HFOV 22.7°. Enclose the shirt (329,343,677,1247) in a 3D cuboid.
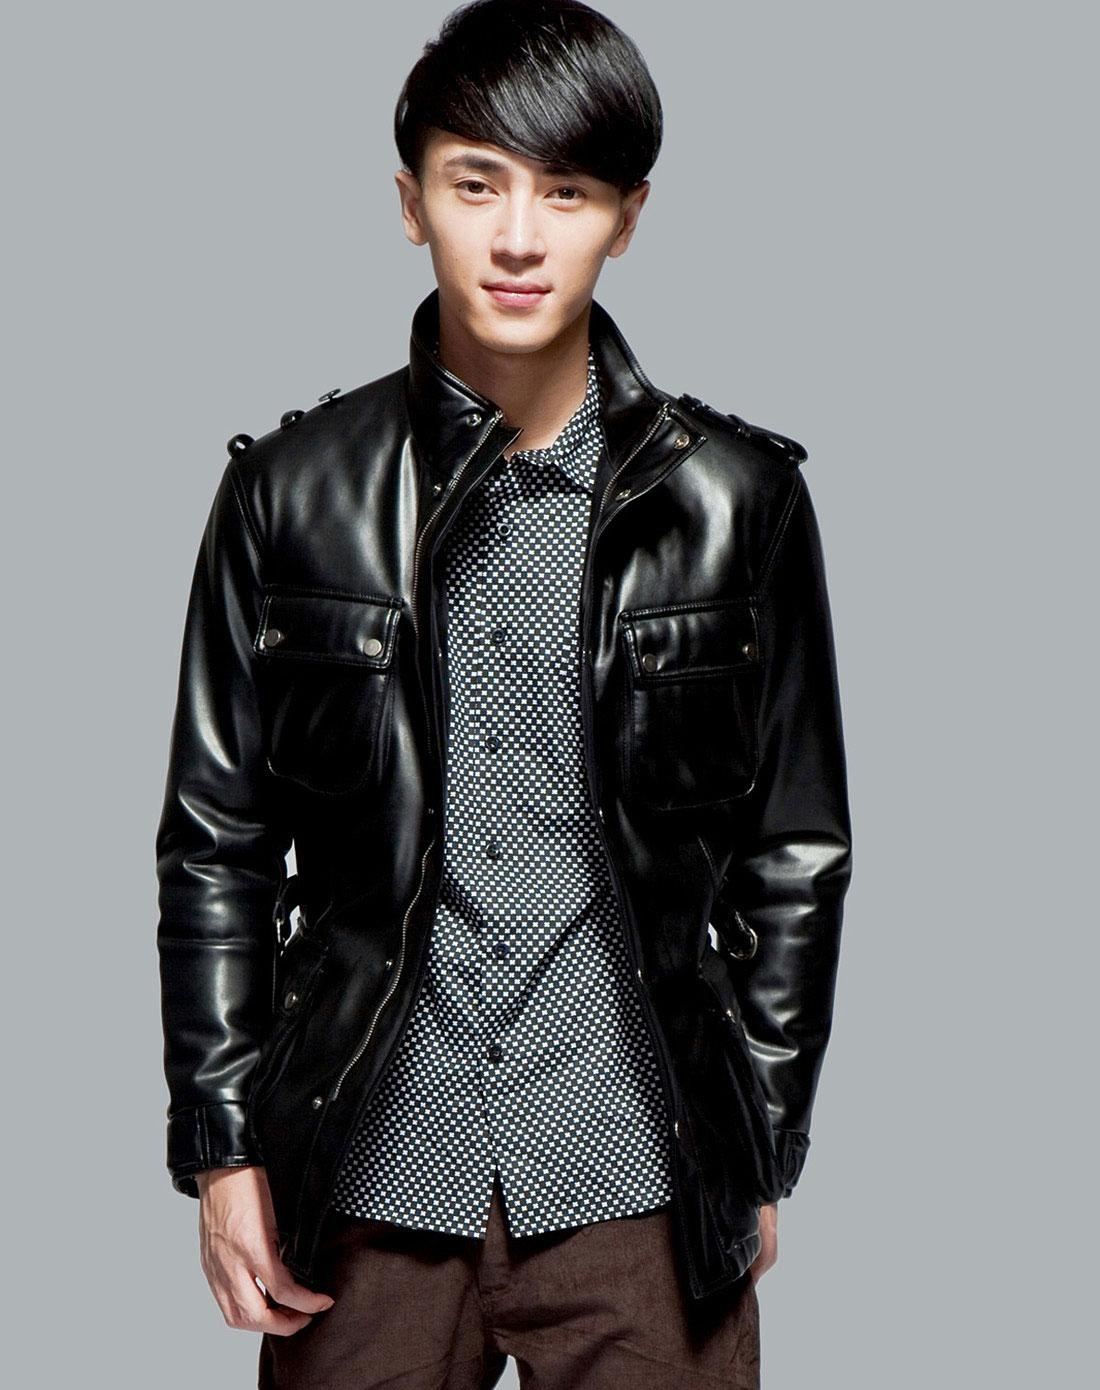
[{"bbox_3d":[-0.065,0.154,3.284,0.394,0.811,0.487,-1,22,-7],"label":"shirt"}]
